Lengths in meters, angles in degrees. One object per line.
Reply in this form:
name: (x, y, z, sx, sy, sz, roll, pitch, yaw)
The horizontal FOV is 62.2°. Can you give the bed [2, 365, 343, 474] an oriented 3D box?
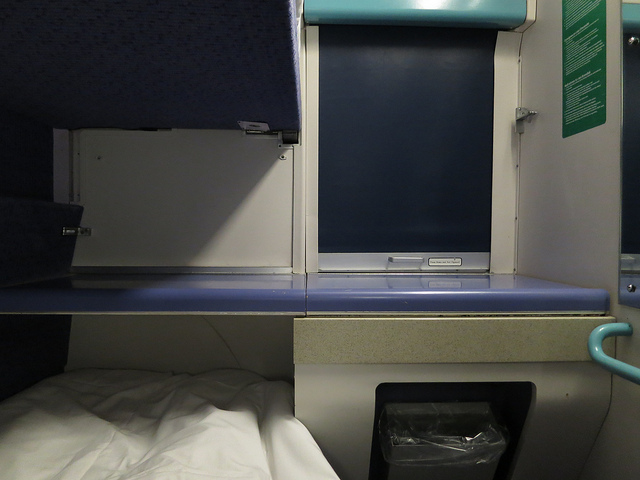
bed: (-0.586, 0.717, 2.142, 1.272, 0.349, 0.673, 0, -9, 1)
